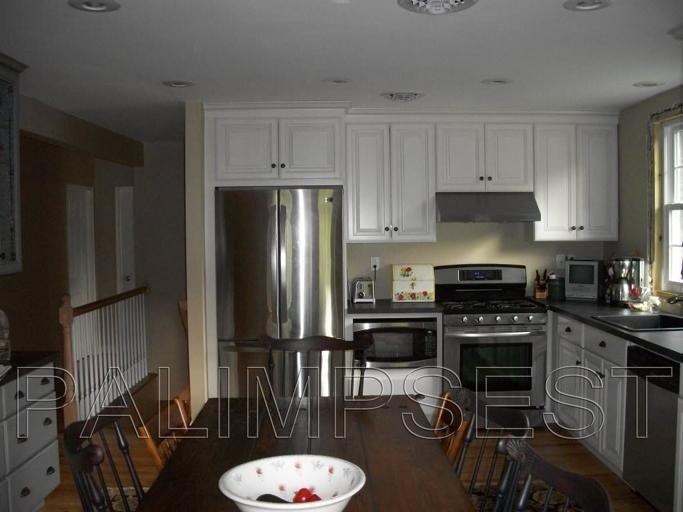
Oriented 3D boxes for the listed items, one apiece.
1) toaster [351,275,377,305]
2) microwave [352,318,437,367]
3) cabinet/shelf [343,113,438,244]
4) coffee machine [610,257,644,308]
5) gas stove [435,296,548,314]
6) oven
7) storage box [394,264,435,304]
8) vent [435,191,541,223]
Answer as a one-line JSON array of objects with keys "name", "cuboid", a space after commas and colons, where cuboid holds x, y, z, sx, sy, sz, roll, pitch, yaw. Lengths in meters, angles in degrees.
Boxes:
[{"name": "toaster", "cuboid": [0.223, 0.337, 5.084, 0.157, 0.179, 0.272, 0, 5, 1]}, {"name": "microwave", "cuboid": [0.530, 0.766, 4.737, 0.605, 0.422, 0.443, 0, -1, 0]}, {"name": "cabinet/shelf", "cuboid": [0.488, -0.617, 5.251, 1.149, 1.682, 0.911, 0, 0, -2]}, {"name": "coffee machine", "cuboid": [2.454, 0.212, 4.584, 0.334, 0.371, 0.312, 0, 2, 27]}, {"name": "gas stove", "cuboid": [1.380, 0.459, 4.968, 0.958, 0.061, 0.551, -2, 4, -3]}, {"name": "oven", "cuboid": [1.457, 1.119, 4.949, 0.929, 0.966, 0.698, -6, -33, 28]}, {"name": "storage box", "cuboid": [0.689, 0.257, 5.135, 0.468, 0.452, 0.299, 0, 4, 3]}, {"name": "vent", "cuboid": [1.345, -0.450, 4.836, 0.947, 0.279, 0.238, -2, 4, -6]}]
